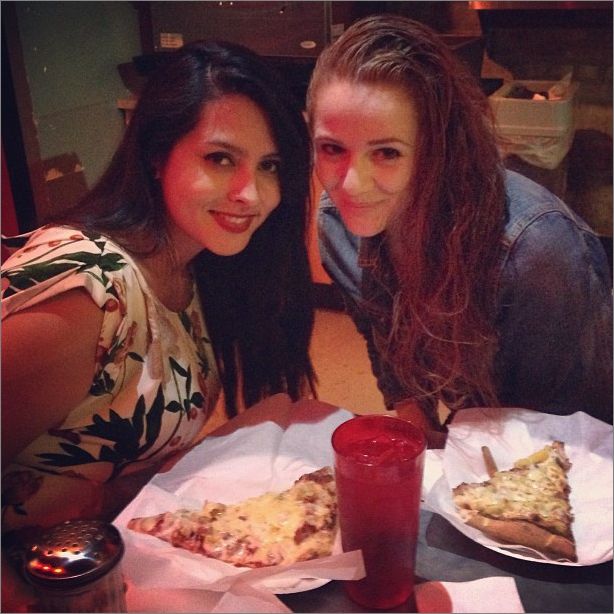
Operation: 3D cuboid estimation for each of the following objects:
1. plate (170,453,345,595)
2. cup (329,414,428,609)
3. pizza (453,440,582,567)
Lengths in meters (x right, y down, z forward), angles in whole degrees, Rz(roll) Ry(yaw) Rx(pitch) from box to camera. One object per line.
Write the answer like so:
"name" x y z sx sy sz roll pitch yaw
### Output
"plate" -0.049 0.219 0.594 0.175 0.019 0.142 1 15 -2
"cup" 0.068 0.186 0.546 0.083 0.160 0.076 -4 18 1
"pizza" 0.217 0.195 0.633 0.118 0.043 0.151 2 18 18
